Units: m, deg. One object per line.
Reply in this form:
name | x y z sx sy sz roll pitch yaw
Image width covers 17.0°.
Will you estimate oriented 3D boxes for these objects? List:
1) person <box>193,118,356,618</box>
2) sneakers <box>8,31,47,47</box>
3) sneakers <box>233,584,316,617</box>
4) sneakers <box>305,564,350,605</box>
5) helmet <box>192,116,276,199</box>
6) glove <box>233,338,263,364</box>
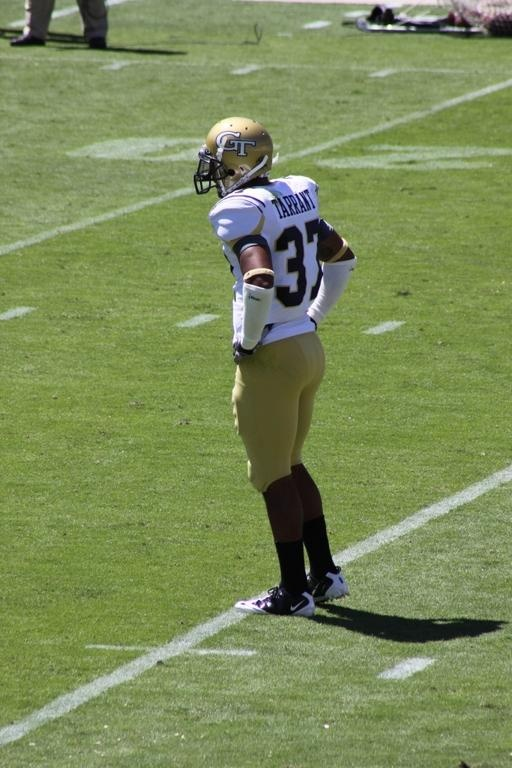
person | 0.062 -0.076 5.700 0.554 1.565 0.750 1 19 -2
sneakers | -1.857 -2.909 14.075 0.326 0.134 0.118 3 49 -6
sneakers | 0.069 0.727 5.666 0.257 0.102 0.104 4 -8 10
sneakers | 0.239 0.684 5.764 0.074 0.095 0.191 -38 4 -12
helmet | -0.079 -0.809 5.851 0.292 0.296 0.241 6 13 21
glove | -0.030 -0.123 5.544 0.080 0.073 0.063 12 12 30
